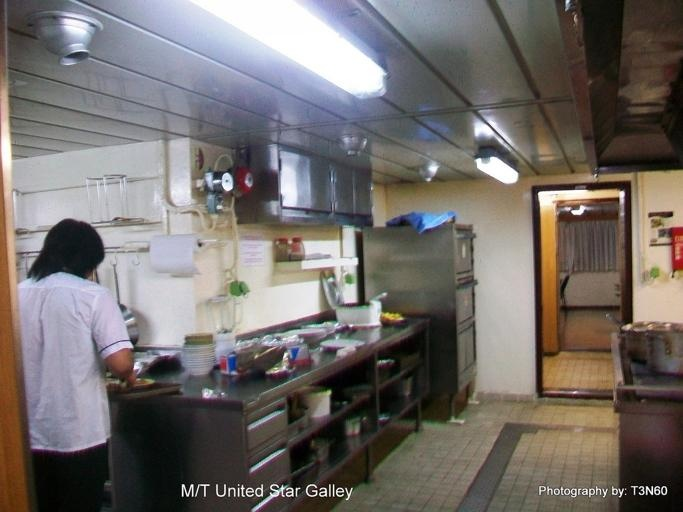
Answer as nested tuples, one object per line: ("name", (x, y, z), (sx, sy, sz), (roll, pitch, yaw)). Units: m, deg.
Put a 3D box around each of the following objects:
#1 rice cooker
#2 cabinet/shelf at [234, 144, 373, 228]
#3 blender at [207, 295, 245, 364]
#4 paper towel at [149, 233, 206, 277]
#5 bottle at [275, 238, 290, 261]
("rice cooker", (0.103, 0.402, 4.745), (0.493, 0.455, 0.361), (1, 4, 21))
("cabinet/shelf", (-0.256, -0.531, 4.163), (0.337, 0.557, 1.422), (1, 3, 32))
("blender", (-0.665, 0.453, 3.584), (0.280, 0.529, 0.341), (0, -3, -5))
("paper towel", (-1.037, 0.015, 3.445), (0.320, 0.250, 0.289), (-1, -29, 10))
("bottle", (-0.488, -0.055, 4.240), (0.131, 0.189, 0.061), (-1, 2, -15))
